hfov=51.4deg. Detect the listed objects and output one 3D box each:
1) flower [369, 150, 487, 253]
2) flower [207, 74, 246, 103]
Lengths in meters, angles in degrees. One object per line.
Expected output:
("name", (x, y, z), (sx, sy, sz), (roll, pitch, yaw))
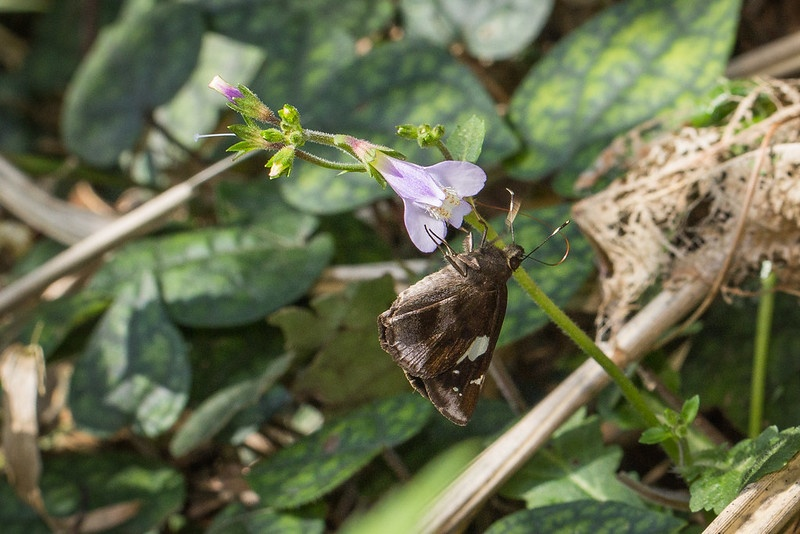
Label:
("flower", (0.084, -0.230, 2.777), (0.361, 0.155, 0.294), (9, 19, 14))
("flower", (-0.578, -0.583, 2.791), (0.075, 0.129, 0.034), (-56, 25, -16))
